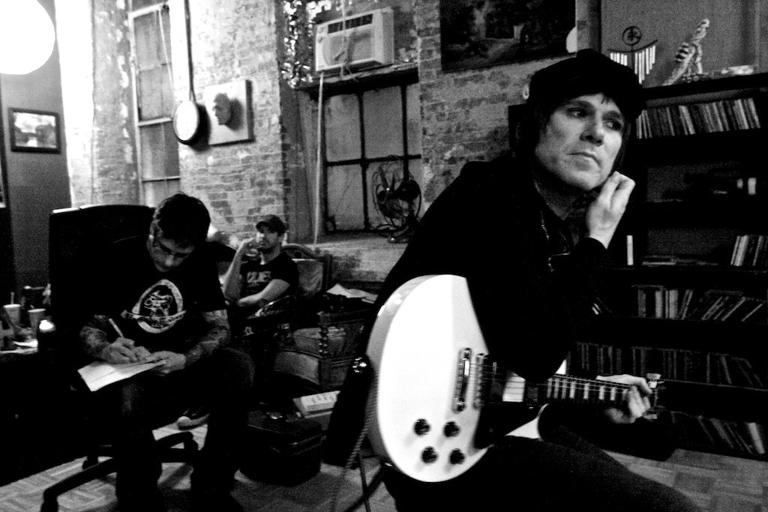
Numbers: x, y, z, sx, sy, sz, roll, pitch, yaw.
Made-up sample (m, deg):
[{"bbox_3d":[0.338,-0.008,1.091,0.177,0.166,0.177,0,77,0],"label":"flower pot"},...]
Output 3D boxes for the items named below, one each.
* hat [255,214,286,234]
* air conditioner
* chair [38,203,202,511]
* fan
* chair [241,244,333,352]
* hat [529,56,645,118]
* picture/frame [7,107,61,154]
[{"bbox_3d":[-0.972,-0.270,6.033,0.183,0.098,0.248,16,0,15],"label":"hat"},{"bbox_3d":[-0.239,-2.018,6.358,0.797,0.464,0.249,-1,-1,27],"label":"air conditioner"},{"bbox_3d":[-1.618,0.606,4.079,0.782,1.820,0.595,0,5,-3],"label":"chair"},{"bbox_3d":[0.132,-0.533,6.459,0.284,0.723,0.604,-1,7,45],"label":"fan"},{"bbox_3d":[-0.863,0.324,5.800,0.800,1.041,0.811,-1,-8,23],"label":"chair"},{"bbox_3d":[0.832,-0.722,2.773,0.285,0.133,0.361,9,-7,-32],"label":"hat"},{"bbox_3d":[-3.568,-1.291,6.889,0.043,0.434,0.556,-1,2,39],"label":"picture/frame"}]
